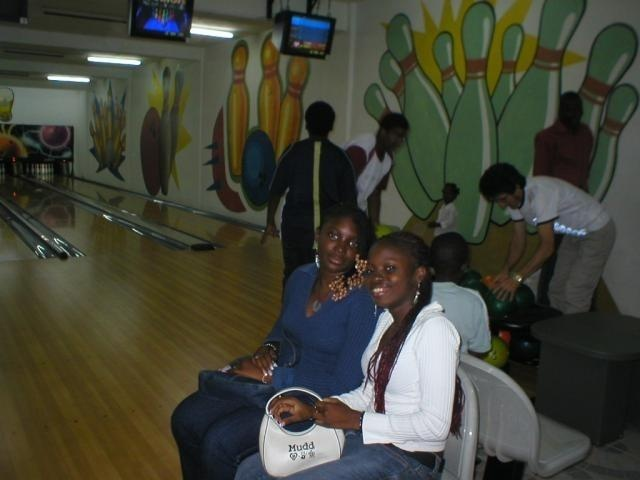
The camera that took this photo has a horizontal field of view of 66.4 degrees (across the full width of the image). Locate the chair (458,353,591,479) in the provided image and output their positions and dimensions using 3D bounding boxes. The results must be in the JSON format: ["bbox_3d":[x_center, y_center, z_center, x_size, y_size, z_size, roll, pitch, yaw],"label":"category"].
[{"bbox_3d":[0.632,0.521,1.485,0.451,0.394,0.184,-6,14,-30],"label":"chair"}]

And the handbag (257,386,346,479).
[{"bbox_3d":[-0.048,0.531,1.328,0.178,0.188,0.084,2,-20,-17],"label":"handbag"}]

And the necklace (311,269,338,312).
[{"bbox_3d":[0.003,0.168,1.604,0.073,0.112,0.131,3,3,-10],"label":"necklace"}]

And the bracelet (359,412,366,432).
[{"bbox_3d":[0.112,0.489,1.320,0.011,0.038,0.025,7,-15,7],"label":"bracelet"}]

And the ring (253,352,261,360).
[{"bbox_3d":[-0.215,0.396,1.669,0.016,0.008,0.025,1,8,20],"label":"ring"}]

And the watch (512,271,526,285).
[{"bbox_3d":[1.079,0.211,2.662,0.074,0.097,0.055,4,-2,-17],"label":"watch"}]

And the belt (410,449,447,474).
[{"bbox_3d":[0.301,0.588,1.326,0.064,0.076,0.017,-22,14,17],"label":"belt"}]
